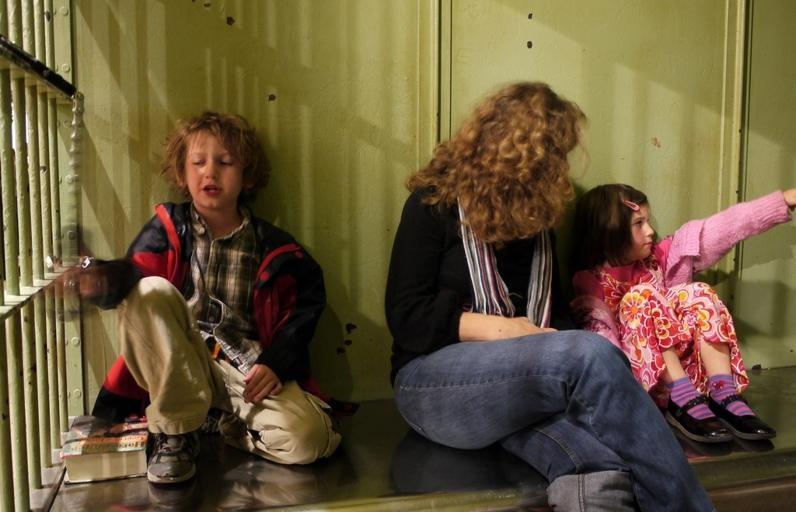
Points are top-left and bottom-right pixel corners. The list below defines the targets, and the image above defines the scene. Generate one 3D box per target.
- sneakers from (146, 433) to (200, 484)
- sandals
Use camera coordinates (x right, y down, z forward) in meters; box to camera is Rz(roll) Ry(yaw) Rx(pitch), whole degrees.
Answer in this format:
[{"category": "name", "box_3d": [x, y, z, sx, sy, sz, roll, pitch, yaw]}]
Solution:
[{"category": "sneakers", "box_3d": [-0.656, 0.579, 1.904, 0.074, 0.100, 0.218, 2, -8, -13]}, {"category": "sandals", "box_3d": [1.029, 0.495, 2.135, 0.158, 0.069, 0.203, -2, 4, -23]}]
